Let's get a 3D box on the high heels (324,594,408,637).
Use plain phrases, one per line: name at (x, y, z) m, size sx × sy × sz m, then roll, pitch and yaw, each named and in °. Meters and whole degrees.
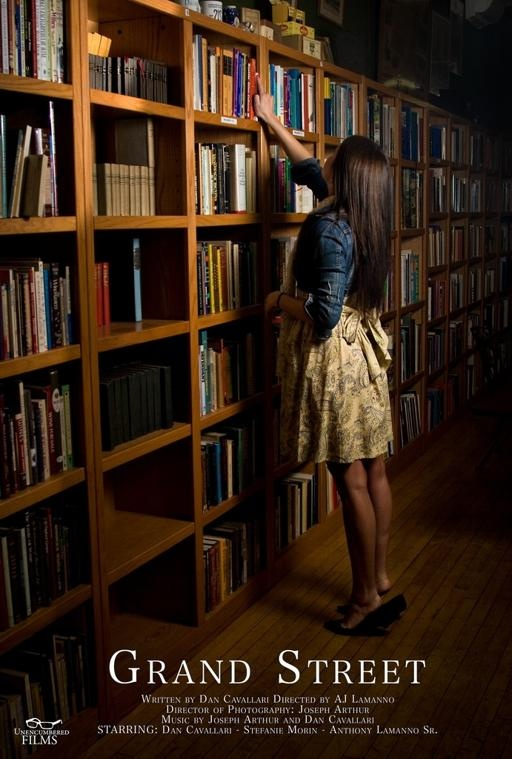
high heels at (0.430, 0.894, 2.195) m, size 0.321 × 0.113 × 0.133 m, roll -19°, pitch 1°, yaw 28°
